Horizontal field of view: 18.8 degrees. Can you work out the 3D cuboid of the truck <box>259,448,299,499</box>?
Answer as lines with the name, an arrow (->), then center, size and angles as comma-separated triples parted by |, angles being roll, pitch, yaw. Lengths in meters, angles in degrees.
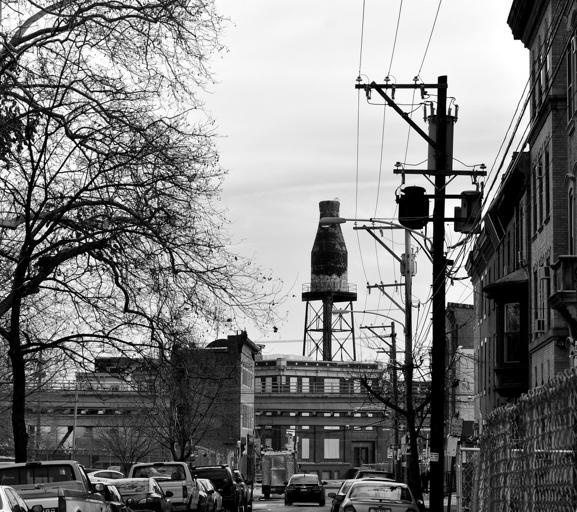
truck -> -0.594, 11.280, 91.249 | 1.222, 1.700, 2.497 | 0, 4, 1
